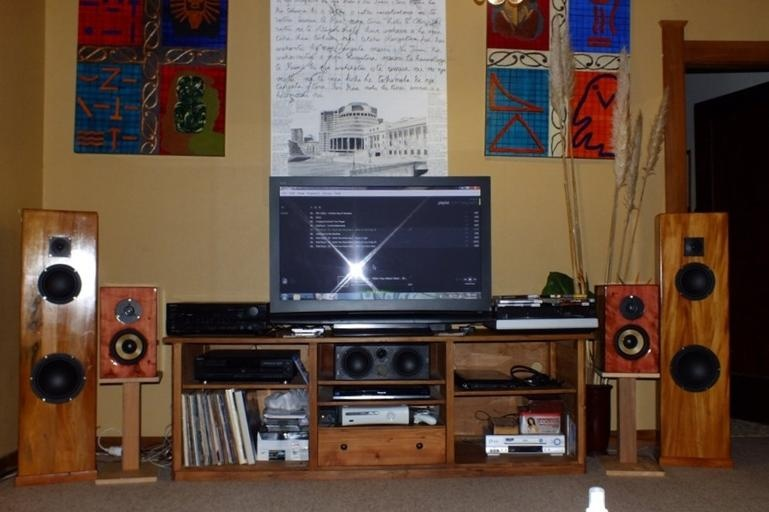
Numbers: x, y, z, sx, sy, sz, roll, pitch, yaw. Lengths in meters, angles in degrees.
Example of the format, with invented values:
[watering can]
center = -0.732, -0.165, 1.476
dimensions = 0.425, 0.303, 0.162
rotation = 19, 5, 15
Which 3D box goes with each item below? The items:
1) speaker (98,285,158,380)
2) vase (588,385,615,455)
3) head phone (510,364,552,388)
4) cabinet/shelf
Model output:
[speaker]
center = -1.547, 0.468, 5.452
dimensions = 0.337, 0.577, 0.125
rotation = 0, -5, -17
[vase]
center = 1.331, 1.029, 5.777
dimensions = 0.249, 0.400, 0.250
rotation = -5, -11, 30
[head phone]
center = 0.902, 0.750, 5.662
dimensions = 0.122, 0.081, 0.183
rotation = 1, 1, -24
[cabinet/shelf]
center = 0.039, 0.917, 5.642
dimensions = 2.460, 0.874, 0.527
rotation = -2, -5, 0
